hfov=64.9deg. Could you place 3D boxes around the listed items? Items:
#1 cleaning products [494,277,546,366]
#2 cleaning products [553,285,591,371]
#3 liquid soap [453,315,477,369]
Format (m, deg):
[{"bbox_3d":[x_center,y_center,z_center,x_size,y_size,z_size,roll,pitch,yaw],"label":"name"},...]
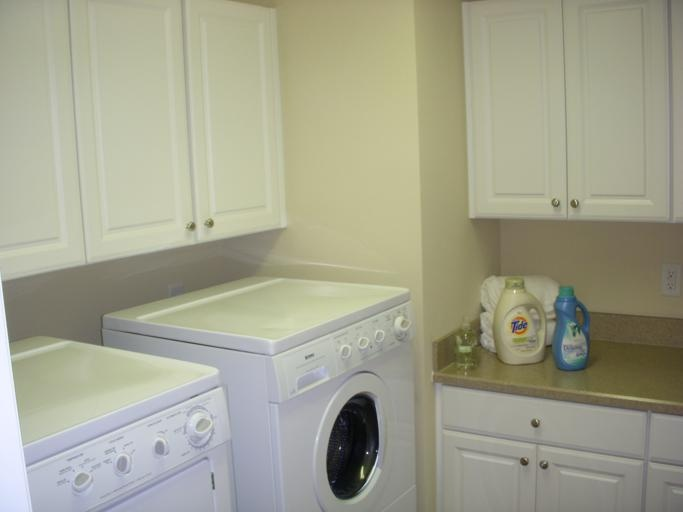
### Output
[{"bbox_3d":[0.738,0.267,2.223,0.218,0.359,0.126,-6,13,5],"label":"cleaning products"},{"bbox_3d":[0.936,0.282,2.142,0.205,0.325,0.099,-5,9,-17],"label":"cleaning products"},{"bbox_3d":[0.514,0.353,2.225,0.087,0.188,0.157,0,9,19],"label":"liquid soap"}]
